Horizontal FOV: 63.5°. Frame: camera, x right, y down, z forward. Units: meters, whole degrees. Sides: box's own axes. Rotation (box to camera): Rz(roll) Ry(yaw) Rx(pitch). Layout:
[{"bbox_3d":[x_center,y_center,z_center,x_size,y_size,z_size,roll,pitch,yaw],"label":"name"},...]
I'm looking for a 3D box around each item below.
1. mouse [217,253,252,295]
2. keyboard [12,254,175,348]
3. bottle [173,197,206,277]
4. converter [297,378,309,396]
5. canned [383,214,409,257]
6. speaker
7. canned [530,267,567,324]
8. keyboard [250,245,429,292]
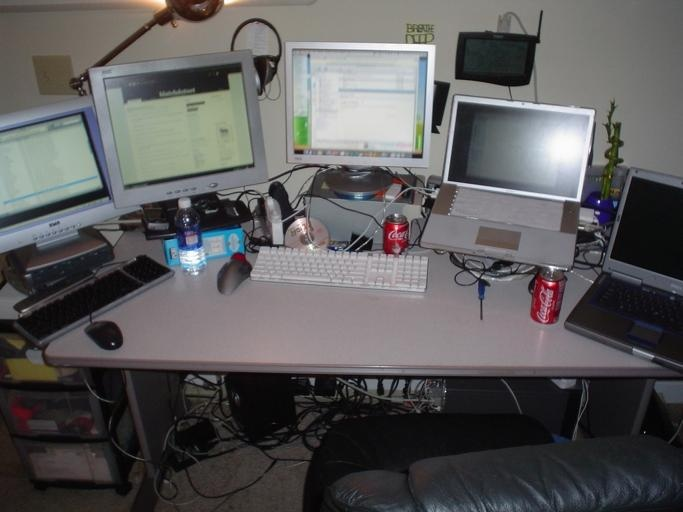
[{"bbox_3d":[-0.375,0.047,1.917,0.122,0.060,0.176,9,39,8],"label":"mouse"},{"bbox_3d":[-0.827,0.143,1.810,0.209,0.093,0.520,29,44,29],"label":"keyboard"},{"bbox_3d":[-0.534,-0.063,1.986,0.100,0.273,0.103,0,21,0],"label":"bottle"},{"bbox_3d":[-0.171,0.599,2.536,0.061,0.062,0.093,3,36,2],"label":"converter"},{"bbox_3d":[0.194,-0.072,1.988,0.085,0.140,0.085,-15,42,-17],"label":"canned"},{"bbox_3d":[-0.344,0.583,2.444,0.242,0.301,0.299,-8,29,-24],"label":"speaker"},{"bbox_3d":[0.642,0.126,1.728,0.115,0.170,0.117,2,30,20],"label":"canned"},{"bbox_3d":[0.020,0.026,1.893,0.465,0.048,0.156,7,62,5],"label":"keyboard"}]
